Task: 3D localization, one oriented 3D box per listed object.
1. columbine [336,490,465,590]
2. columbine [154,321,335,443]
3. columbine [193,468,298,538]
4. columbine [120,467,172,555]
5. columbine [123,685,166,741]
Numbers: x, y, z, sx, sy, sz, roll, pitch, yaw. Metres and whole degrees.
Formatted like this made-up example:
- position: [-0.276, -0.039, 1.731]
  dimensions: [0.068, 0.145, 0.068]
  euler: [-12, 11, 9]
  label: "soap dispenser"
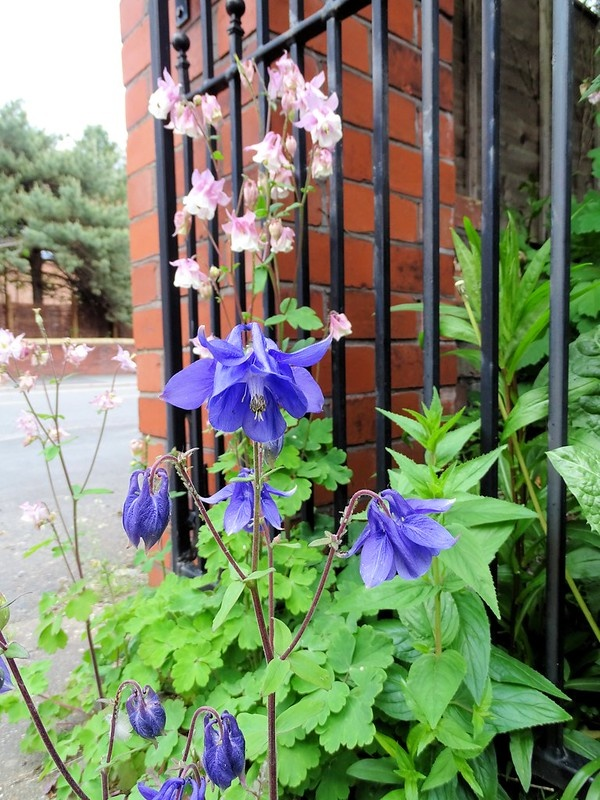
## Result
- position: [0.142, 0.196, 0.932]
  dimensions: [0.153, 0.099, 0.086]
  euler: [-4, 1, 12]
  label: "columbine"
- position: [-0.071, -0.022, 0.905]
  dimensions: [0.196, 0.142, 0.200]
  euler: [-2, 2, 45]
  label: "columbine"
- position: [-0.086, 0.150, 1.112]
  dimensions: [0.130, 0.089, 0.114]
  euler: [-3, 15, -17]
  label: "columbine"
- position: [-0.246, 0.175, 1.042]
  dimensions: [0.074, 0.121, 0.173]
  euler: [-4, 1, -13]
  label: "columbine"
- position: [-0.282, 0.566, 1.179]
  dimensions: [0.062, 0.099, 0.079]
  euler: [-4, 1, -21]
  label: "columbine"
